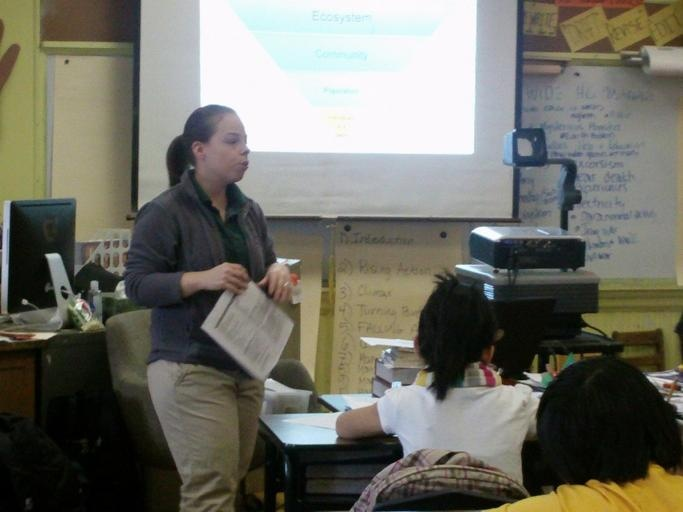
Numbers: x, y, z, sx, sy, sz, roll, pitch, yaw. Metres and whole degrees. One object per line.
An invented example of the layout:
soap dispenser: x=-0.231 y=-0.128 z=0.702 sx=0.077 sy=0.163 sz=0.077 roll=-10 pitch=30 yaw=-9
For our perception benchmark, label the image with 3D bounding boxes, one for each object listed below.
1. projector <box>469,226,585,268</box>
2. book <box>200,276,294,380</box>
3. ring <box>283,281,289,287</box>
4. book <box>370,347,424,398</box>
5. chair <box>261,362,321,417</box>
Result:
projector: x=0.814 y=-0.033 z=2.983 sx=0.486 sy=0.177 sz=0.238 roll=2 pitch=4 yaw=11
book: x=-0.299 y=0.242 z=2.247 sx=0.092 sy=0.316 sz=0.312 roll=-8 pitch=-46 yaw=46
ring: x=-0.194 y=0.097 z=2.356 sx=0.015 sy=0.015 sz=0.020 roll=-2 pitch=-37 yaw=-24
book: x=0.187 y=0.408 z=2.509 sx=0.216 sy=0.212 sz=0.175 roll=-1 pitch=6 yaw=-14
chair: x=-0.235 y=0.604 z=3.113 sx=0.213 sy=0.277 sz=0.247 roll=3 pitch=-10 yaw=-18
